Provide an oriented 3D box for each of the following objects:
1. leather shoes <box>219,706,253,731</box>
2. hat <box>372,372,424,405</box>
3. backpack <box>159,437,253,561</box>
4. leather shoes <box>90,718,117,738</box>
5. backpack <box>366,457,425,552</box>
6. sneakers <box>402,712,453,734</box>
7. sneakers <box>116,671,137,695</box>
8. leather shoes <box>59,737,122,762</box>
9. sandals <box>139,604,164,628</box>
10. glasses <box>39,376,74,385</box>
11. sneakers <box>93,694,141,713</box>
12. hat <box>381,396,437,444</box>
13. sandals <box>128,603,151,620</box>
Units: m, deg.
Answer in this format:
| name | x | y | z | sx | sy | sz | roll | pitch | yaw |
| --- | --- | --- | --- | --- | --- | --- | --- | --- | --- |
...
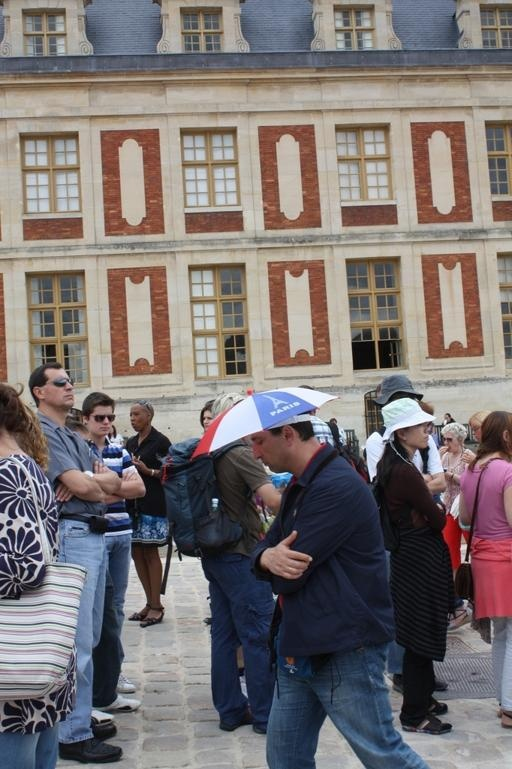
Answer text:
| name | x | y | z | sx | sy | sz | roll | pitch | yaw |
| --- | --- | --- | --- | --- | --- | --- | --- | --- | --- |
| leather shoes | -0.128 | 2.068 | 6.905 | 0.088 | 0.093 | 0.242 | 5 | 15 | 34 |
| hat | 0.918 | 0.053 | 7.751 | 0.299 | 0.173 | 0.337 | -13 | -6 | -44 |
| backpack | -0.373 | 0.716 | 6.895 | 0.565 | 0.702 | 0.326 | -7 | -4 | 39 |
| leather shoes | -0.913 | 2.052 | 6.641 | 0.169 | 0.117 | 0.106 | -2 | -4 | -34 |
| backpack | 0.886 | 0.713 | 6.847 | 0.398 | 0.642 | 0.195 | -7 | -4 | 27 |
| sneakers | 1.015 | 2.033 | 6.681 | 0.227 | 0.079 | 0.115 | -1 | 1 | -1 |
| sneakers | -0.899 | 2.034 | 7.560 | 0.092 | 0.095 | 0.240 | 0 | -9 | -19 |
| leather shoes | -0.936 | 2.047 | 6.291 | 0.353 | 0.131 | 0.134 | 0 | 13 | -8 |
| sandals | -0.920 | 2.045 | 9.776 | 0.151 | 0.143 | 0.393 | -6 | -3 | 5 |
| glasses | -1.132 | -0.006 | 6.452 | 0.094 | 0.050 | 0.216 | -5 | -3 | 21 |
| sneakers | -0.895 | 2.042 | 7.134 | 0.315 | 0.109 | 0.099 | 0 | 2 | -12 |
| hat | 0.939 | 0.215 | 6.986 | 0.322 | 0.264 | 0.273 | -5 | -3 | 11 |
| sandals | -1.068 | 2.073 | 10.140 | 0.177 | 0.123 | 0.448 | -3 | -6 | -6 |
